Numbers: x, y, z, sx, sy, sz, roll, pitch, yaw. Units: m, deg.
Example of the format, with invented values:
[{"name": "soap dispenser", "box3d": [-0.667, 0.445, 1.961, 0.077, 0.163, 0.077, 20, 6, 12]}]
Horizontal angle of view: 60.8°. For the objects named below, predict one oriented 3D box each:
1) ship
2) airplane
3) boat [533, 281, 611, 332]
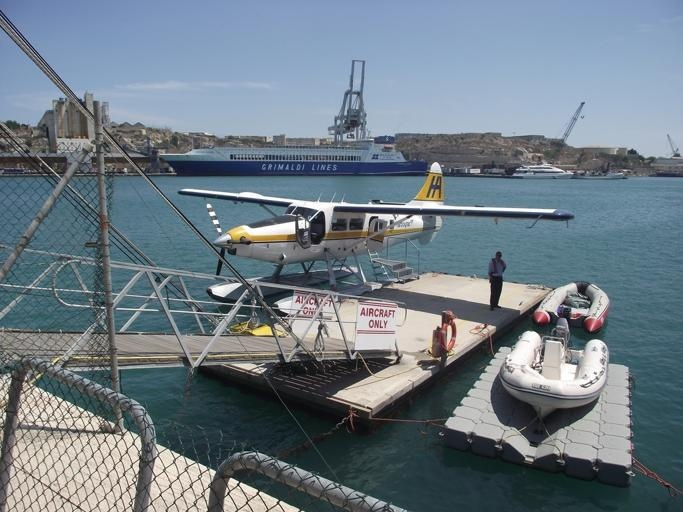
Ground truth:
[{"name": "ship", "box3d": [-7.933, -17.535, 109.847, 50.837, 4.214, 5.267, -1, -2, -9]}, {"name": "airplane", "box3d": [-0.328, -1.217, 21.842, 11.010, 4.369, 12.324, -1, 14, -13]}, {"name": "boat", "box3d": [7.463, 1.620, 18.572, 2.009, 0.780, 2.984, 8, 14, 24]}]
